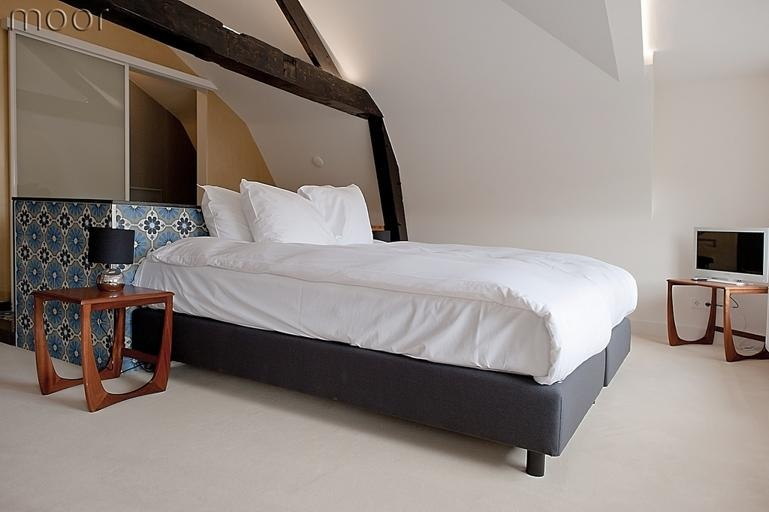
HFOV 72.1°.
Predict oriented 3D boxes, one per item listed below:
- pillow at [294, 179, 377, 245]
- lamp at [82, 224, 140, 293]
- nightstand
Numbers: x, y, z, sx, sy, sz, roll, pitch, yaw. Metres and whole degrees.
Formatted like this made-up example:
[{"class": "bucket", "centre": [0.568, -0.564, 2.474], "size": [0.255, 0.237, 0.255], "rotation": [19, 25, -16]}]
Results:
[{"class": "pillow", "centre": [-0.421, -0.365, 4.708], "size": [0.175, 0.597, 0.593], "rotation": [-25, -9, 38]}, {"class": "lamp", "centre": [-1.791, 0.025, 3.550], "size": [0.380, 0.622, 0.388], "rotation": [2, -2, -29]}, {"class": "nightstand", "centre": [-1.863, 0.545, 3.668], "size": [0.849, 0.850, 0.820], "rotation": [5, 7, 39]}]
